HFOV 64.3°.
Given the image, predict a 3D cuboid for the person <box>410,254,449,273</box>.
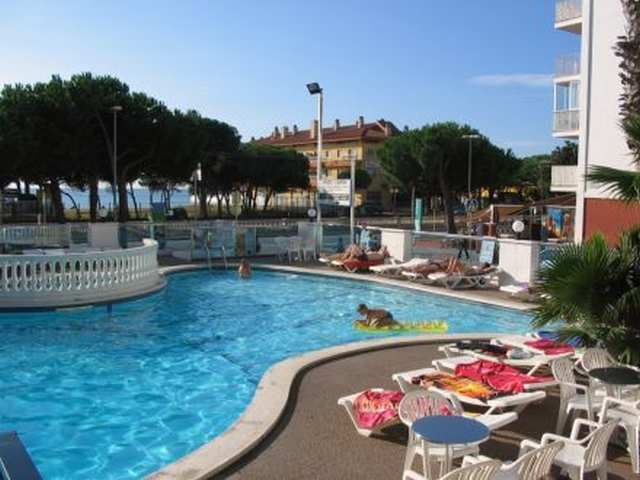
[{"bbox_3d":[3.636,0.936,16.723,1.132,0.363,0.705,3,7,16],"label":"person"}]
